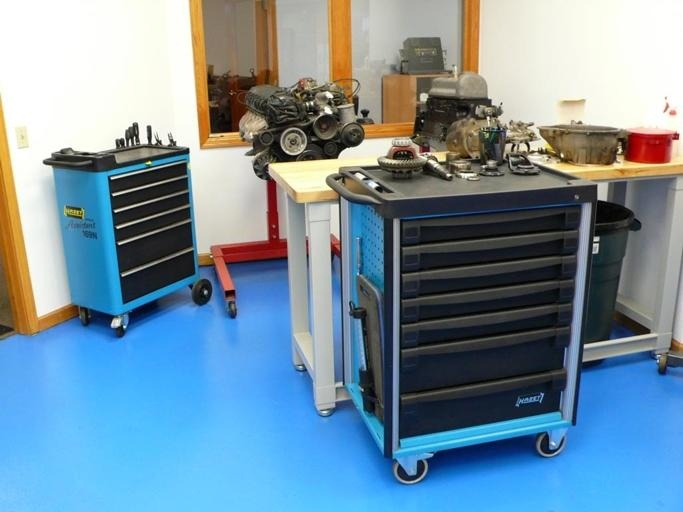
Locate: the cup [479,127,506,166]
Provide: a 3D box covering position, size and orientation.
[{"bbox_3d":[0.657,-0.479,2.424,0.133,0.175,0.163,1,14,8],"label":"cup"}]

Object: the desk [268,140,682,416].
[{"bbox_3d":[0.633,-0.293,3.836,2.192,1.181,2.656,-5,20,-7],"label":"desk"}]

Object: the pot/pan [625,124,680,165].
[{"bbox_3d":[1.557,-0.571,2.779,0.223,0.164,0.210,-9,18,-19],"label":"pot/pan"}]

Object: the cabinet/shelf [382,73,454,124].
[{"bbox_3d":[0.592,-1.394,4.790,0.474,0.418,0.165,-2,19,2],"label":"cabinet/shelf"}]
